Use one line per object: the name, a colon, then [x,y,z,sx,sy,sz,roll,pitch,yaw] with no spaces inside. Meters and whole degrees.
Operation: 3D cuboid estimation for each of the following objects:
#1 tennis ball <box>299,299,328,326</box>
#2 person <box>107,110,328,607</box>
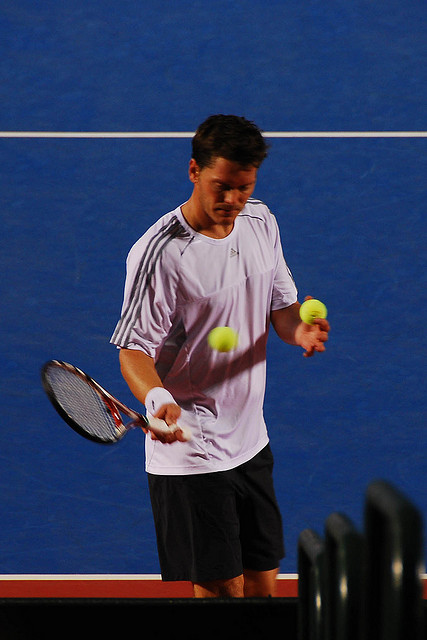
tennis ball: [0.309,-0.026,2.332,0.079,0.089,0.071,2,-5,4]
person: [0.007,0.112,2.271,0.600,1.451,0.466,4,-5,-19]
